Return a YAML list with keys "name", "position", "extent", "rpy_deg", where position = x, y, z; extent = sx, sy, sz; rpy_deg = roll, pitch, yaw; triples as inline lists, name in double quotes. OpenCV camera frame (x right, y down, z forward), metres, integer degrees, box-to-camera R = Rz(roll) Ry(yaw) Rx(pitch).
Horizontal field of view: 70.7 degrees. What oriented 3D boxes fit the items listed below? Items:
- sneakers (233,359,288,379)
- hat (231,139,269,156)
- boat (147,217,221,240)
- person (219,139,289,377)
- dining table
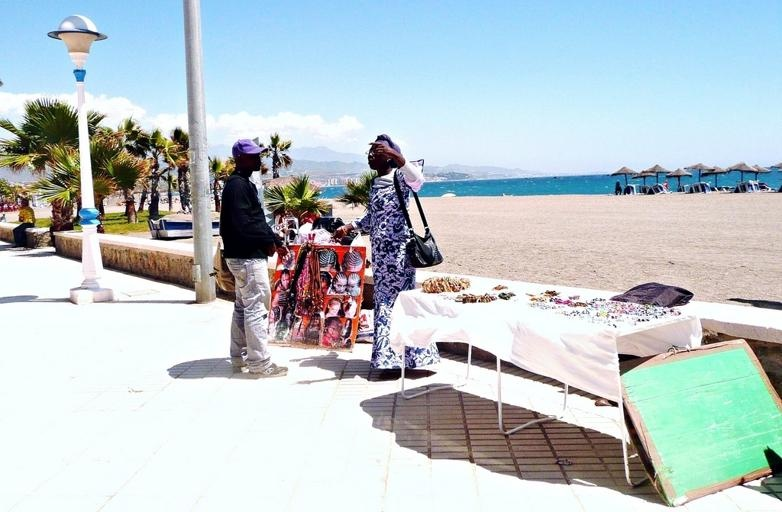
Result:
- name: "sneakers"
  position: [-1.438, 1.256, 6.076]
  extent: [0.655, 0.213, 0.212]
  rpy_deg: [-1, 4, -5]
- name: "hat"
  position: [-1.545, -1.159, 5.914]
  extent: [0.307, 0.180, 0.566]
  rpy_deg: [-3, 10, -15]
- name: "boat"
  position: [-7.123, -0.889, 18.681]
  extent: [2.767, 0.777, 1.873]
  rpy_deg: [-2, 4, -33]
- name: "person"
  position: [-1.475, 0.053, 5.889]
  extent: [0.616, 2.540, 0.487]
  rpy_deg: [12, 18, 43]
- name: "dining table"
  position: [1.252, 0.939, 4.850]
  extent: [2.222, 1.325, 0.990]
  rpy_deg: [8, 14, 38]
